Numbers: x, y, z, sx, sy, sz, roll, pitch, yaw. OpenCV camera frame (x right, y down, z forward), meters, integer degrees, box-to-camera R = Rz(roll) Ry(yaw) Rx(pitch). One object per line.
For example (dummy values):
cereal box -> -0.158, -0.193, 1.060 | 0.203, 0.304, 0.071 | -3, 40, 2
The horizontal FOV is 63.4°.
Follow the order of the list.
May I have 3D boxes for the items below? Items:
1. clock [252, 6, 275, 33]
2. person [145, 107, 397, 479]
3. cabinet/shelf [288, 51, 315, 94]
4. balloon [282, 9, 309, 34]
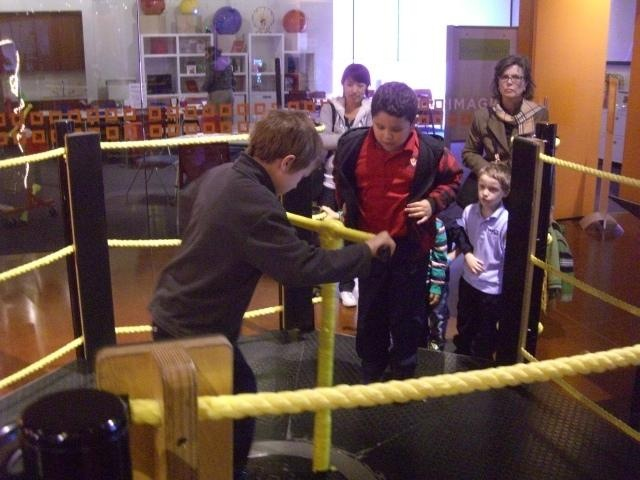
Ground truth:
clock -> -0.464, -1.771, 4.177 | 0.183, 0.190, 0.032 | -2, 13, -7
person -> -0.182, -0.027, 1.641 | 0.736, 0.738, 0.321 | 1, 13, 7
cabinet/shelf -> -0.181, -1.410, 4.370 | 0.249, 0.311, 0.219 | -5, 15, -11
balloon -> -0.202, -1.771, 4.221 | 0.183, 0.225, 0.189 | -9, 19, -28
